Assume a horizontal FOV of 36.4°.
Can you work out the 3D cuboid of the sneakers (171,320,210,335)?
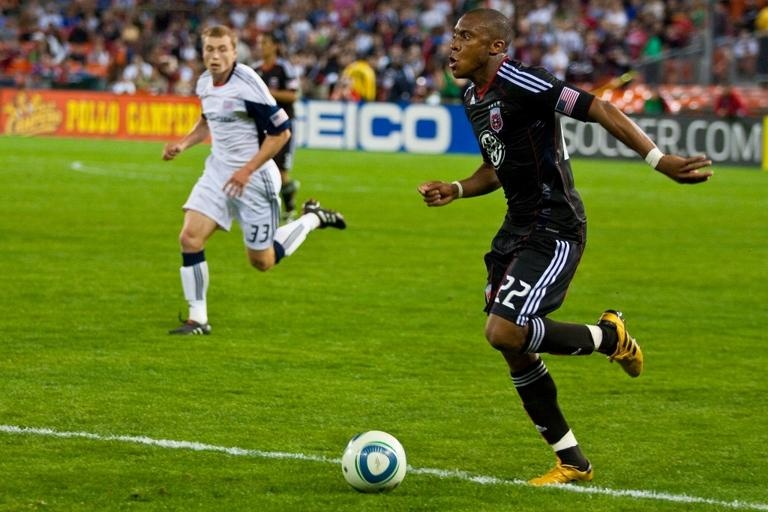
[{"bbox_3d":[-1.677,0.628,10.264,0.374,0.136,0.125,3,-9,-16],"label":"sneakers"}]

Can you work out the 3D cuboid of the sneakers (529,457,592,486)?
[{"bbox_3d":[1.254,1.542,8.290,0.475,0.162,0.160,1,-8,-5],"label":"sneakers"}]

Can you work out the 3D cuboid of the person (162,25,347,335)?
[{"bbox_3d":[-1.291,-0.707,10.527,1.514,2.661,0.946,-3,12,-27],"label":"person"}]

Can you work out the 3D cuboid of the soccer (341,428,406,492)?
[{"bbox_3d":[-0.064,1.450,8.187,0.501,0.449,0.485,-5,-11,29],"label":"soccer"}]
